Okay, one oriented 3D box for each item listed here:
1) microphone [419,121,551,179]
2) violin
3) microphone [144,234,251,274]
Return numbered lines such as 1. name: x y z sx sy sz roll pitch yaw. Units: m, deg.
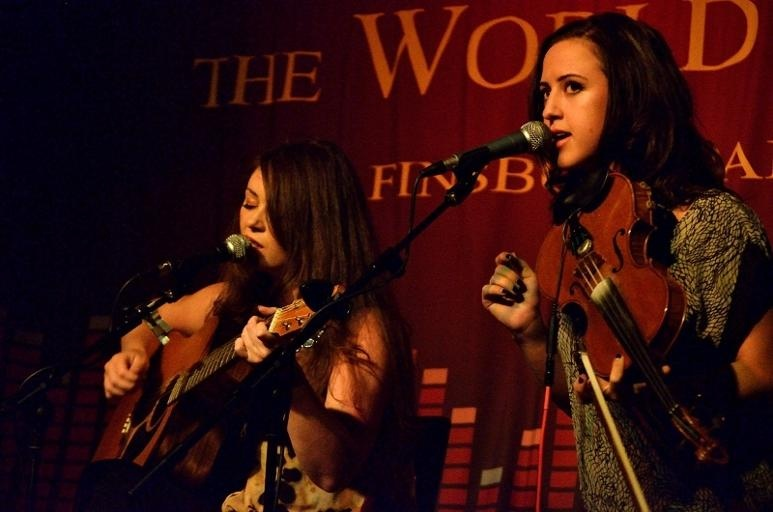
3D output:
1. microphone: 0.328 -0.371 2.162 0.325 0.226 0.318 6 12 27
2. violin: 0.741 0.139 2.041 0.170 0.430 0.916 23 32 -33
3. microphone: -0.673 -0.012 2.511 0.096 0.106 0.389 3 9 38
